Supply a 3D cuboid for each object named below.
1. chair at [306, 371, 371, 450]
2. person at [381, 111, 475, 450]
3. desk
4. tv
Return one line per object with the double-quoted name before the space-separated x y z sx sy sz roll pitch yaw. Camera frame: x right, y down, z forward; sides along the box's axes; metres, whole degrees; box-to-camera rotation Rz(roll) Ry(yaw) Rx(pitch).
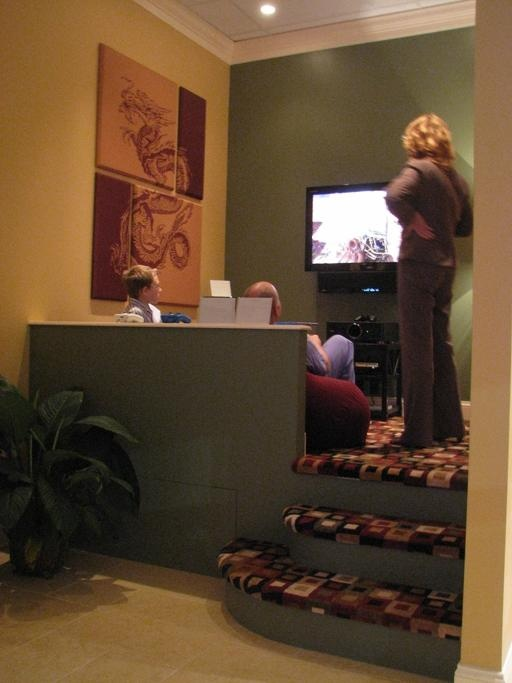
"chair" 0.393 0.326 2.842 0.376 0.316 0.370 -2 0 -31
"person" 0.820 -0.287 2.879 0.288 1.591 0.559 -2 -4 35
"desk" 0.849 0.285 4.438 0.392 0.495 0.338 2 3 28
"tv" 0.766 -0.865 4.620 1.060 0.738 0.108 1 1 32
